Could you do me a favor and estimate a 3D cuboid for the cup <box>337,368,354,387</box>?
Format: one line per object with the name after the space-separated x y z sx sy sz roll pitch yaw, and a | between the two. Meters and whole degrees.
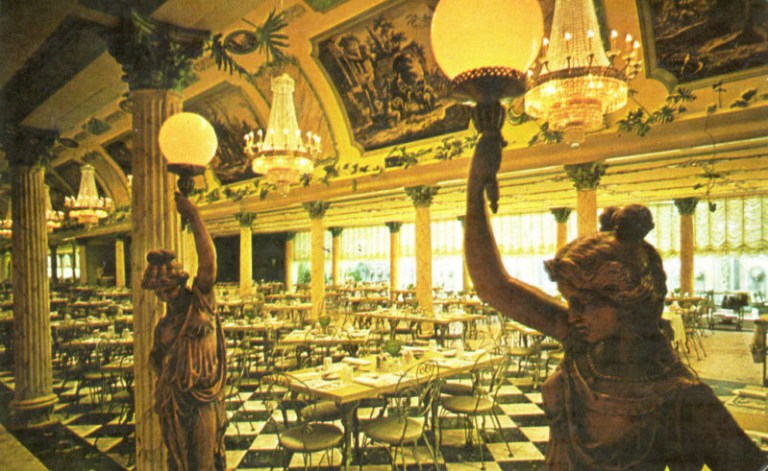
-0.630 2.395 12.394 0.259 0.217 0.245 -1 -3 0 | cup

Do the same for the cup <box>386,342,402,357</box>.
0.185 2.006 12.951 0.269 0.280 0.252 -3 -5 0 | cup

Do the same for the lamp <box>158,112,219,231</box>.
-2.841 -1.124 10.525 0.936 1.218 0.877 3 -5 -31 | lamp
